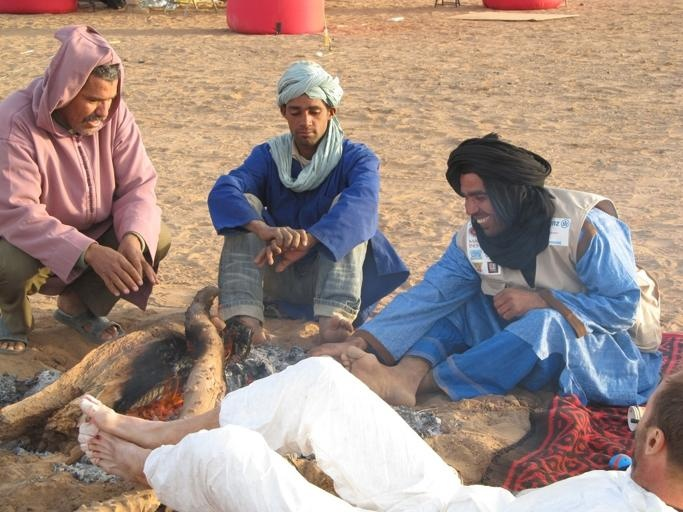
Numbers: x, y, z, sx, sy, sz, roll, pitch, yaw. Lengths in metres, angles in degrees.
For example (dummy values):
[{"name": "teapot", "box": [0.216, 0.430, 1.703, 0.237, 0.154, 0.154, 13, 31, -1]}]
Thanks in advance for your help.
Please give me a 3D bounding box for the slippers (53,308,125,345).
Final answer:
[{"name": "slippers", "box": [-1.504, 0.434, 4.822, 0.444, 0.138, 0.170, 21, 34, 9]}]
